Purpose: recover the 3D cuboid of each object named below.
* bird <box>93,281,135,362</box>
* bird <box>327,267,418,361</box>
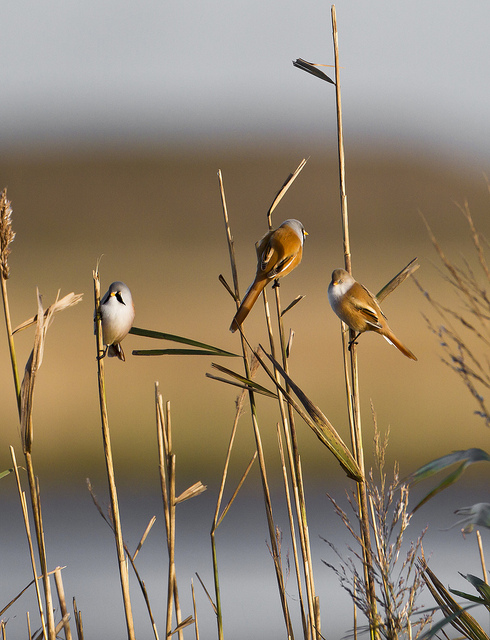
[{"bbox_3d":[-0.412,0.000,3.461,0.100,0.252,0.248,9,0,0],"label":"bird"},{"bbox_3d":[0.396,-0.016,3.464,0.288,0.233,0.109,16,20,17],"label":"bird"}]
